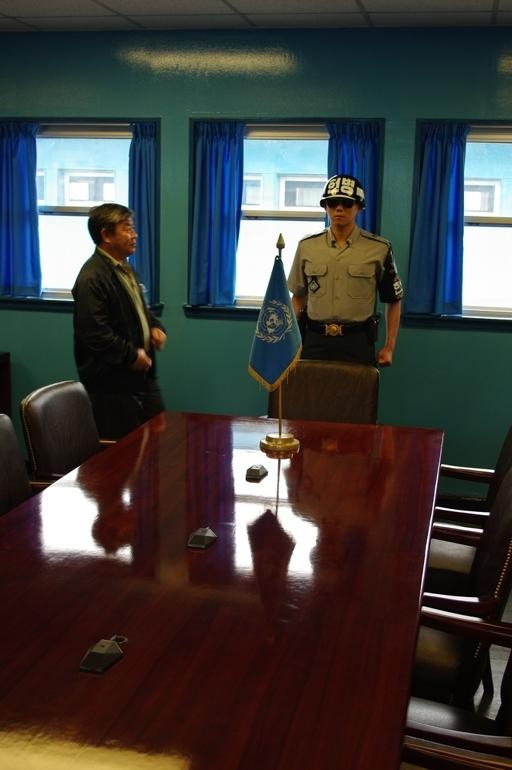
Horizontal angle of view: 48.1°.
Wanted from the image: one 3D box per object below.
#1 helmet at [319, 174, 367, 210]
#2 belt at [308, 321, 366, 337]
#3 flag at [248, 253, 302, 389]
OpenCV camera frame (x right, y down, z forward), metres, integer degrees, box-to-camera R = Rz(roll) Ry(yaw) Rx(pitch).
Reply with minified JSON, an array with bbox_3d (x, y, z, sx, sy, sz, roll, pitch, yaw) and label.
[{"bbox_3d":[0.474,-1.049,3.085,0.149,0.117,0.215,2,-1,5],"label":"helmet"},{"bbox_3d":[0.461,-0.319,3.282,0.340,0.087,0.101,2,7,8],"label":"belt"},{"bbox_3d":[0.063,-0.210,1.854,0.162,0.470,0.286,1,6,2],"label":"flag"}]
